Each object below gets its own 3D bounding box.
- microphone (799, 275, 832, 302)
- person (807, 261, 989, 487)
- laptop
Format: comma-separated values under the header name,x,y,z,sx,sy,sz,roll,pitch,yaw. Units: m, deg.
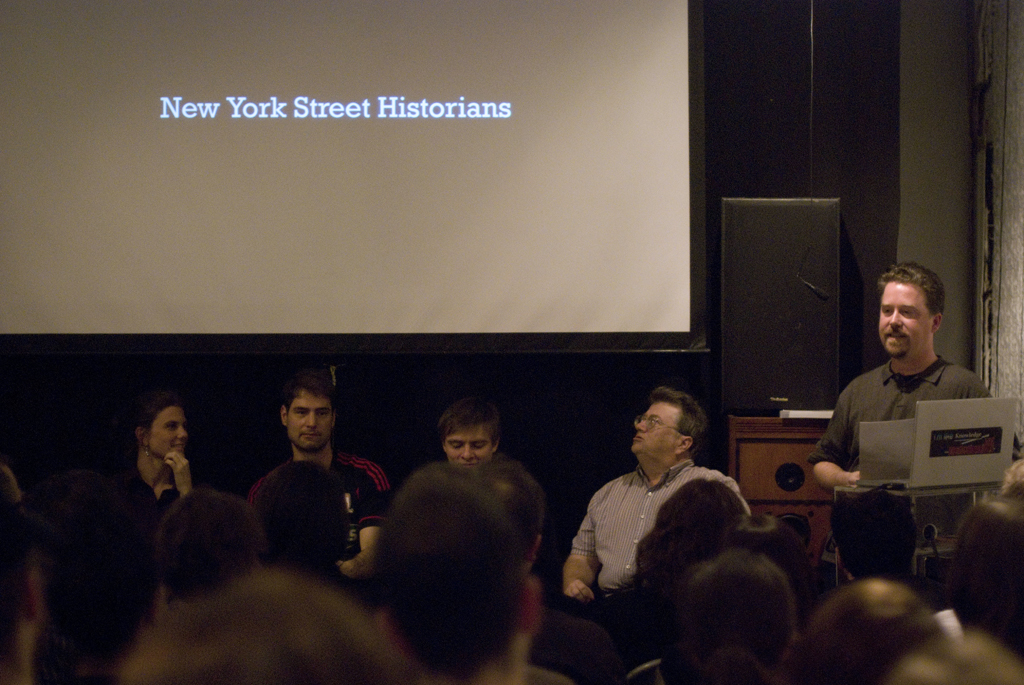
name,x,y,z,sx,sy,sz,roll,pitch,yaw
microphone,1.554,-0.272,4.977,0.229,0.069,0.010,44,1,5
person,1.844,0.219,4.599,0.818,1.169,0.637,-1,-12,36
laptop,1.816,0.420,4.040,0.536,0.357,0.383,-1,2,-10
